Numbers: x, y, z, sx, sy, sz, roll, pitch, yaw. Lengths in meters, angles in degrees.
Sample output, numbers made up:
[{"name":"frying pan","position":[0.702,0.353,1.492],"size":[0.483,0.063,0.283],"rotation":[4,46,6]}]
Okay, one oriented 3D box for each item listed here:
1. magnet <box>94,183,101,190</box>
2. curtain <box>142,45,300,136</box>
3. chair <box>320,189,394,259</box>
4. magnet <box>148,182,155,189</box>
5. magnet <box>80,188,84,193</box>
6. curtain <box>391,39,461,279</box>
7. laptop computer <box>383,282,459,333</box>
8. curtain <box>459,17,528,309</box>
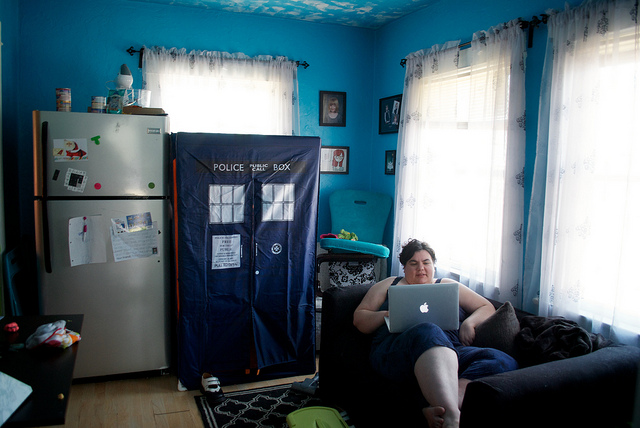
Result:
[{"name":"magnet","position":[-1.717,-0.214,3.619],"size":[0.053,0.054,0.013],"rotation":[1,-1,-18]},{"name":"curtain","position":[-0.995,-1.200,4.641],"size":[1.413,0.779,0.077],"rotation":[-1,6,-15]},{"name":"chair","position":[0.376,0.058,4.574],"size":[0.727,0.774,0.698],"rotation":[5,-13,4]},{"name":"magnet","position":[-1.332,-0.225,3.709],"size":[0.046,0.046,0.011],"rotation":[3,3,-20]},{"name":"magnet","position":[-1.828,-0.179,3.597],"size":[0.034,0.034,0.008],"rotation":[4,-1,-13]},{"name":"curtain","position":[1.004,-0.483,4.399],"size":[0.132,2.138,0.700],"rotation":[-4,8,-39]},{"name":"laptop computer","position":[0.687,0.622,3.282],"size":[0.484,0.323,0.349],"rotation":[-2,4,-5]},{"name":"curtain","position":[1.452,-0.418,3.848],"size":[0.235,2.275,0.642],"rotation":[-2,7,-25]}]
